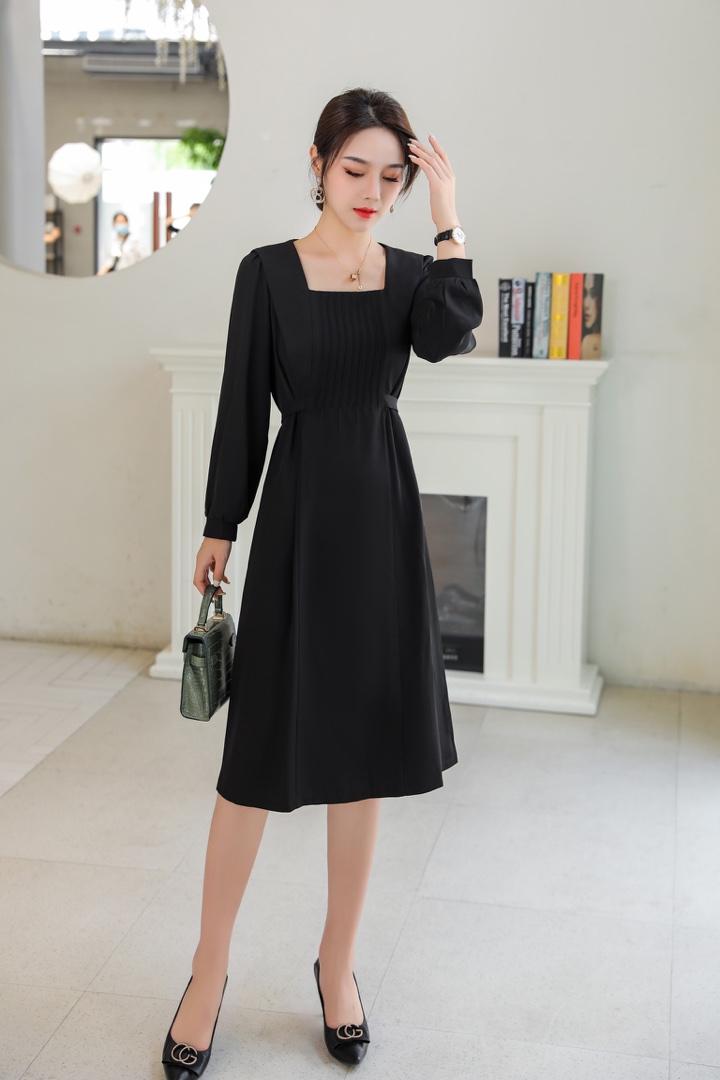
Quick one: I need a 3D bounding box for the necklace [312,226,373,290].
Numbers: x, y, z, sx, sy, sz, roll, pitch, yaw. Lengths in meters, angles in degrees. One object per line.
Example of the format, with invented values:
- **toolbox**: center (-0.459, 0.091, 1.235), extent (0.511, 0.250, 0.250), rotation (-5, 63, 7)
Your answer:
- **necklace**: center (-0.011, -0.361, 1.191), extent (0.080, 0.070, 0.037), rotation (-4, 7, -32)
